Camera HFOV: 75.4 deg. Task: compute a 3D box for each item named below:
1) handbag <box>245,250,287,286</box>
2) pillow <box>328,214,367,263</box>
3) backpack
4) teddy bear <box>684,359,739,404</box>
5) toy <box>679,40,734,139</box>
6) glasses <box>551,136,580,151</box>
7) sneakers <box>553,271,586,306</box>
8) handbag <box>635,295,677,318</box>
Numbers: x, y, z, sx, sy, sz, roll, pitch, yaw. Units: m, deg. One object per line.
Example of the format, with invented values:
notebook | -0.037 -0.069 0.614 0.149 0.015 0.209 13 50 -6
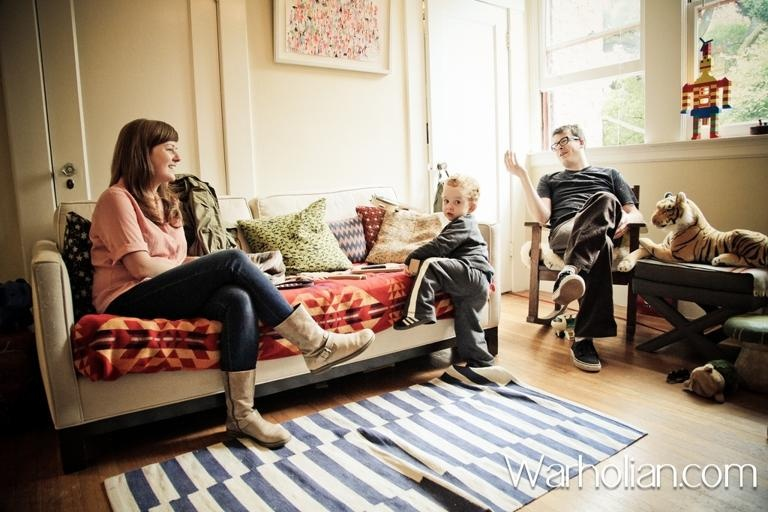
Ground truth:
handbag | -0.690 0.092 2.923 0.198 0.065 0.197 31 26 3
pillow | -0.249 -0.108 3.362 0.150 0.270 0.308 8 14 43
backpack | -1.106 -0.199 2.951 0.168 0.500 0.396 -19 -5 42
teddy bear | 1.784 0.657 2.707 0.224 0.170 0.195 -14 17 -36
toy | 2.377 -1.234 3.647 0.191 0.711 0.278 -12 16 -29
glasses | 1.372 -0.859 3.707 0.130 0.037 0.126 -19 -3 -38
sneakers | 1.176 0.197 3.092 0.169 0.239 0.272 5 16 35
handbag | 1.877 0.341 3.399 0.108 0.178 0.194 -16 14 -15
